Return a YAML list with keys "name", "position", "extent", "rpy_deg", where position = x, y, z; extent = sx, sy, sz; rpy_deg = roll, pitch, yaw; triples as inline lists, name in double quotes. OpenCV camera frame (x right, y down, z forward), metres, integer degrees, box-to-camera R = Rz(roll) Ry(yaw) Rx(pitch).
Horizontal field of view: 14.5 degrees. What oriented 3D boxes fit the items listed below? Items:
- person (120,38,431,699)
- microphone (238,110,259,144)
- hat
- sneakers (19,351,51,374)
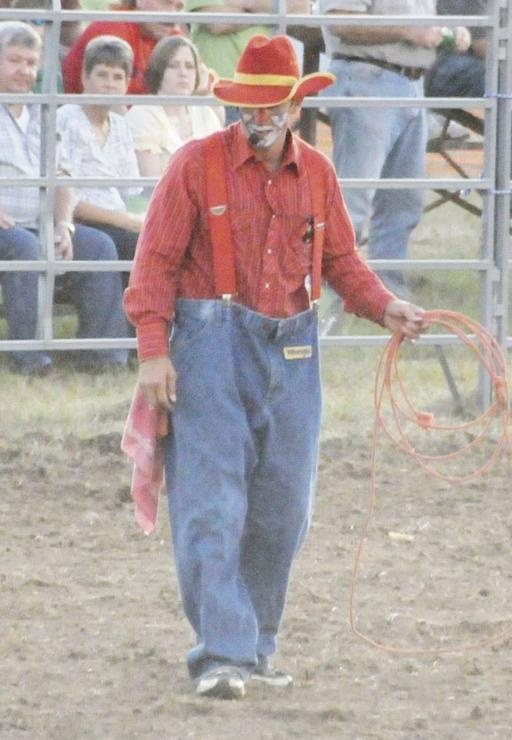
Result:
- name: "person"
  position: [-0.028, -0.027, 6.433]
  extent: [0.493, 2.041, 0.785]
  rpy_deg: [12, 17, 37]
- name: "microphone"
  position: [-0.021, -0.752, 6.232]
  extent: [0.030, 0.100, 0.067]
  rpy_deg: [-12, 13, 4]
- name: "hat"
  position: [0.054, -0.951, 6.335]
  extent: [0.408, 0.226, 0.496]
  rpy_deg: [5, 9, 9]
- name: "sneakers"
  position: [-1.015, -0.031, 9.104]
  extent: [0.112, 0.103, 0.041]
  rpy_deg: [13, 1, -29]
